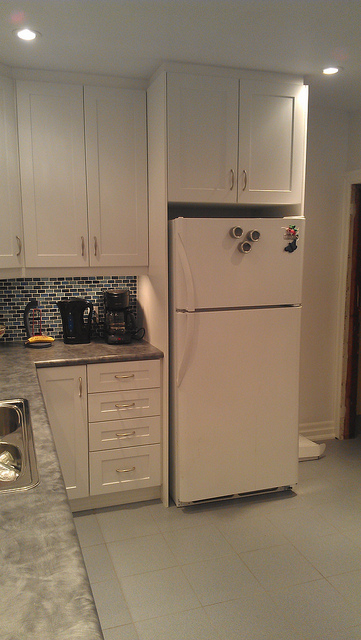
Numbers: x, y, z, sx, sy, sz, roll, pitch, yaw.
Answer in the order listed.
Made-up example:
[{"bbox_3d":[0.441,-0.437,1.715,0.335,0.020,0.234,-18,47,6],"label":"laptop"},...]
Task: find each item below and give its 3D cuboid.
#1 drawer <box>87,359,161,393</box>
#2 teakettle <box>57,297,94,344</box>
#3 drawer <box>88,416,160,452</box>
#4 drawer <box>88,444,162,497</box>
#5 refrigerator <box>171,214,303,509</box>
[{"bbox_3d":[-0.328,0.263,2.696,0.355,0.174,0.304,-2,12,-33],"label":"drawer"},{"bbox_3d":[-0.622,0.012,2.860,0.194,0.271,0.139,-2,6,-16],"label":"teakettle"},{"bbox_3d":[-0.310,0.610,2.681,0.367,0.168,0.274,-3,10,-29],"label":"drawer"},{"bbox_3d":[-0.337,0.810,2.793,0.399,0.260,0.242,-3,12,-23],"label":"drawer"},{"bbox_3d":[0.270,0.179,2.958,0.773,1.690,0.728,-4,15,-15],"label":"refrigerator"}]
